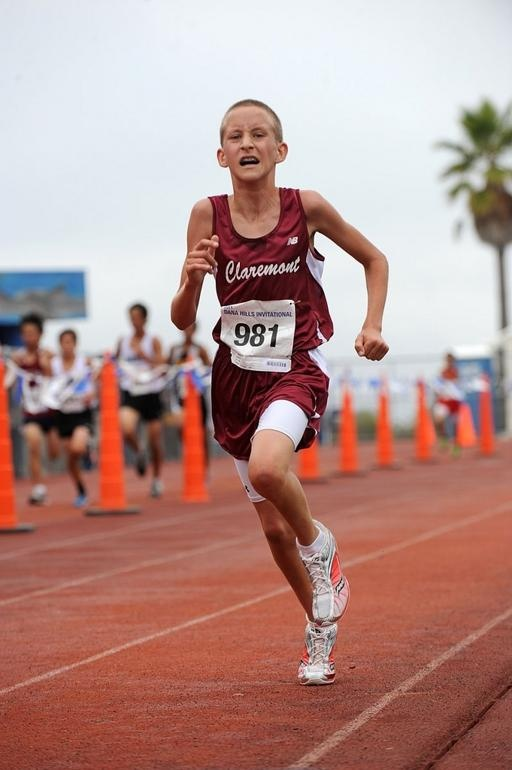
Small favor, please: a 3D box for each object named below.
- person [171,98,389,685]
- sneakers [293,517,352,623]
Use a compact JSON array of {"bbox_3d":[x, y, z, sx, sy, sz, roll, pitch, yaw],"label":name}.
[{"bbox_3d":[0.124,0.024,2.555,0.562,1.647,0.551,0,-3,-24],"label":"person"},{"bbox_3d":[0.166,0.522,2.678,0.122,0.351,0.154,-26,-26,31],"label":"sneakers"}]
